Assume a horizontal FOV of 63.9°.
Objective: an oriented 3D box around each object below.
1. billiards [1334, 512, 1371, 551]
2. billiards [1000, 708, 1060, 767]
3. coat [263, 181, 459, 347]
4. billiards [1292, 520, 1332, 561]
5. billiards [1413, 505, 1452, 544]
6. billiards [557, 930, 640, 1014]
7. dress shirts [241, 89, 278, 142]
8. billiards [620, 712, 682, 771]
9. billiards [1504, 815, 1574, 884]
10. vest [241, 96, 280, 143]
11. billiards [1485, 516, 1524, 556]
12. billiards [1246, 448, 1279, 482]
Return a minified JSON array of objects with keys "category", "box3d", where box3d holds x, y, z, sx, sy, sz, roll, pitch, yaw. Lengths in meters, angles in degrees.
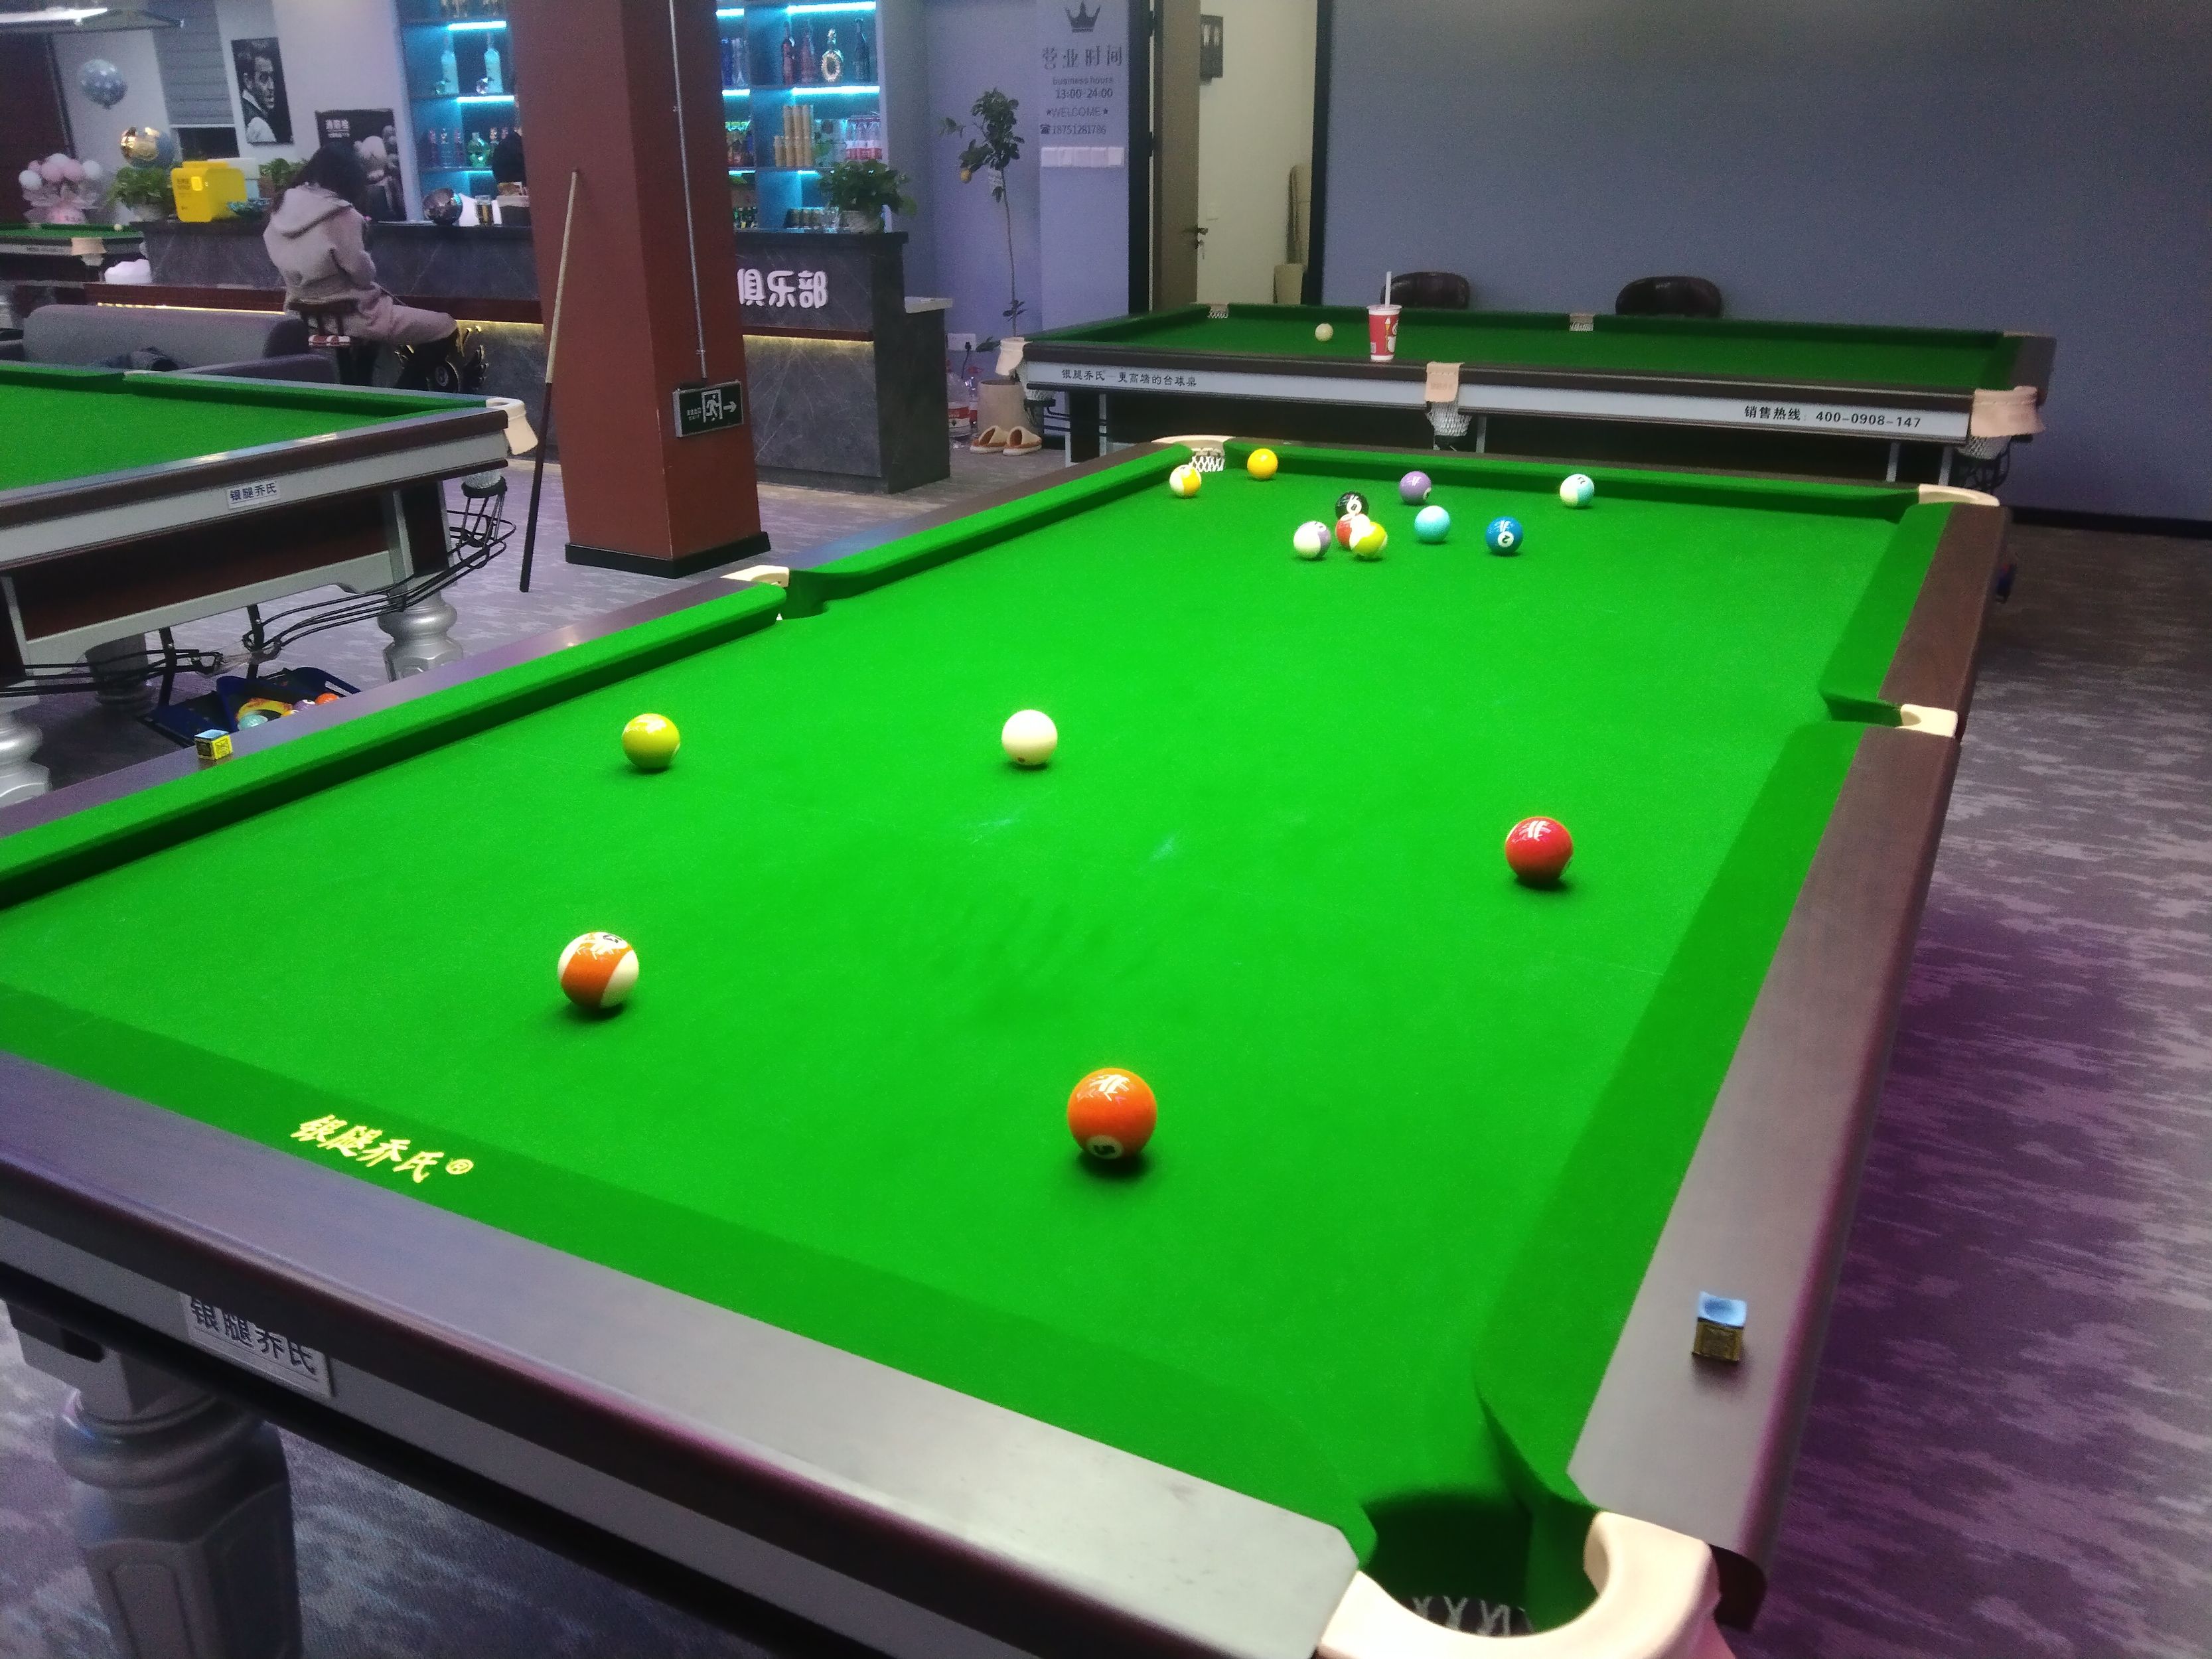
[{"category":"billiards","box3d":[0.465,-0.552,3.304,0.055,0.056,0.065,-22,-30,16]},{"category":"billiards","box3d":[-0.097,-0.118,2.301,0.069,0.073,0.070,6,-17,-16]},{"category":"coat","box3d":[-3.338,-2.520,7.947,0.438,0.645,0.796,7,18,25]},{"category":"billiards","box3d":[0.388,-0.545,3.322,0.061,0.049,0.079,1,24,12]},{"category":"billiards","box3d":[0.633,-0.580,3.461,0.082,0.101,0.084,0,3,21]},{"category":"billiards","box3d":[-0.508,0.147,1.796,0.073,0.078,0.075,-7,-6,-1]},{"category":"dress shirts","box3d":[-5.544,-4.666,11.699,0.239,0.281,0.350,-2,41,-17]},{"category":"billiards","box3d":[-0.584,-0.114,2.308,0.070,0.075,0.072,0,2,3]},{"category":"billiards","box3d":[0.494,0.024,2.064,0.071,0.087,0.071,8,-6,-32]},{"category":"vest","box3d":[-5.560,-4.629,11.704,0.289,0.296,0.069,22,42,22]},{"category":"billiards","box3d":[0.749,-0.539,3.344,0.070,0.074,0.072,-16,14,28]},{"category":"billiards","box3d":[0.358,-0.820,4.051,0.071,0.088,0.074,-5,1,12]}]
